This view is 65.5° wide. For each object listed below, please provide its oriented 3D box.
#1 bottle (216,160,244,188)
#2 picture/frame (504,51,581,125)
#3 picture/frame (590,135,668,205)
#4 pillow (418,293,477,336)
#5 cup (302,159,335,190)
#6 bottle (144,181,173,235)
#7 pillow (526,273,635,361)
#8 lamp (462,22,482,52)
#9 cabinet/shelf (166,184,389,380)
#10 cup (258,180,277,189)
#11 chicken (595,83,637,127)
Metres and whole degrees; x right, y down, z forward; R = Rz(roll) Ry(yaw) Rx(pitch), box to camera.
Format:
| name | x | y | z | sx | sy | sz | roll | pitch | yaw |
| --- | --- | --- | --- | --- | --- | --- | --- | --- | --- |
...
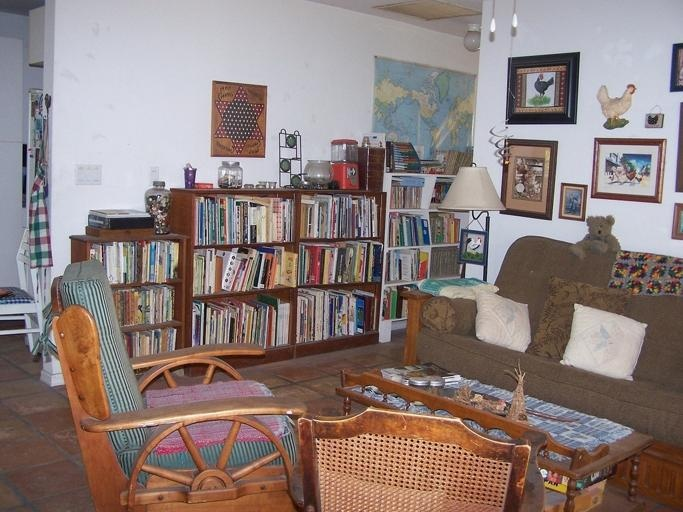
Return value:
| name | x | y | z | sx | sy | sz | roll | pitch | yaw |
| --- | --- | --- | --- | --- | --- | --- | --- | --- | --- |
| bottle | -0.975 | -0.684 | 4.574 | 0.244 | 0.246 | 0.242 | 2 | 2 | 37 |
| picture/frame | 1.699 | -1.402 | 4.433 | 0.716 | 0.648 | 0.061 | 8 | 11 | 43 |
| picture/frame | 2.175 | -0.642 | 3.975 | 0.040 | 0.516 | 0.546 | -5 | 11 | -43 |
| pillow | 0.778 | 0.391 | 3.978 | 0.299 | 0.250 | 0.384 | 6 | 1 | 35 |
| cup | -0.239 | -0.788 | 5.112 | 0.276 | 0.244 | 0.272 | 1 | 7 | 0 |
| bottle | -1.490 | -0.385 | 4.244 | 0.195 | 0.405 | 0.253 | -1 | 10 | -19 |
| pillow | 1.683 | 0.493 | 3.760 | 0.181 | 0.537 | 0.597 | 24 | -5 | -22 |
| lamp | 1.408 | -2.359 | 5.778 | 0.150 | 0.351 | 0.739 | 4 | 9 | 11 |
| cabinet/shelf | -0.632 | 0.219 | 4.563 | 1.737 | 1.250 | 0.431 | -3 | 13 | -28 |
| cup | -0.704 | -0.635 | 4.796 | 0.140 | 0.043 | 0.105 | -1 | 1 | -39 |
| chicken | 2.099 | -1.147 | 4.033 | 0.303 | 0.306 | 0.183 | 3 | 31 | 31 |
